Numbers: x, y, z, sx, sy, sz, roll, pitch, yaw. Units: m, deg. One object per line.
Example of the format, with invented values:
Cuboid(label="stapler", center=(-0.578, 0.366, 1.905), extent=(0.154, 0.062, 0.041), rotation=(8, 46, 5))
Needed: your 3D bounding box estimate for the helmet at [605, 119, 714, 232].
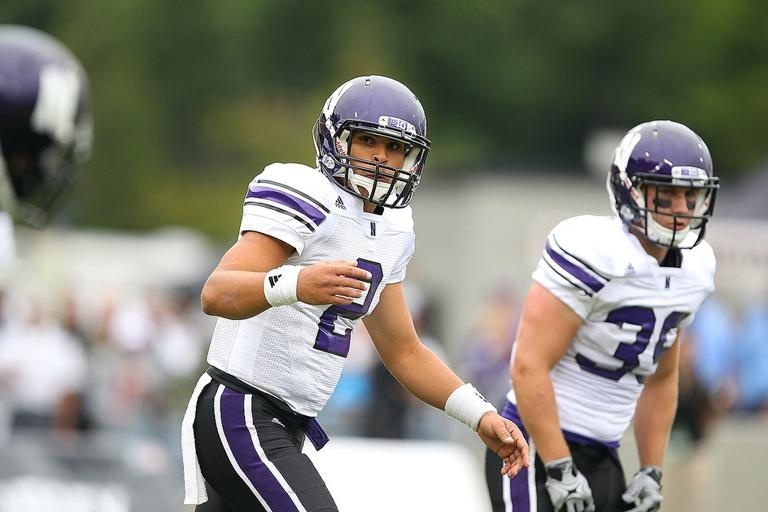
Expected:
Cuboid(label="helmet", center=(1.604, -0.465, 6.609), extent=(0.469, 0.523, 0.625), rotation=(12, 19, -19))
